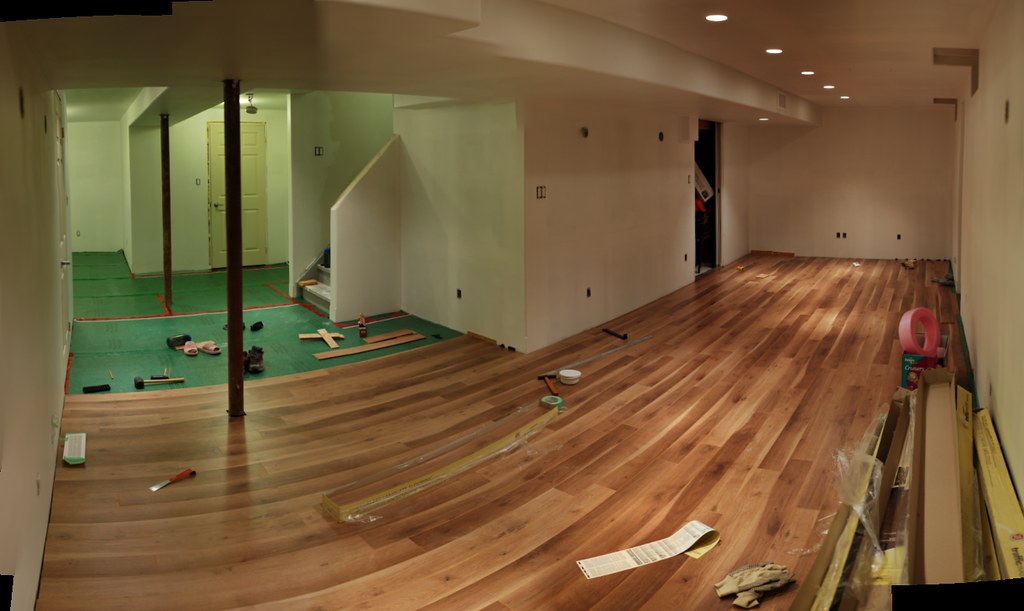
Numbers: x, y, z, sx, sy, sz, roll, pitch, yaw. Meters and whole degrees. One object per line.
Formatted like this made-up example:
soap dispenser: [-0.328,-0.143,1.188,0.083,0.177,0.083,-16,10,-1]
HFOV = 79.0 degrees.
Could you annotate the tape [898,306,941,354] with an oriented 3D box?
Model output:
tape: [4.173,0.274,6.375,0.493,0.476,0.130,12,-17,-35]

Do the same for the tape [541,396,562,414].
tape: [0.410,1.022,6.350,0.168,0.059,0.133,14,21,36]
